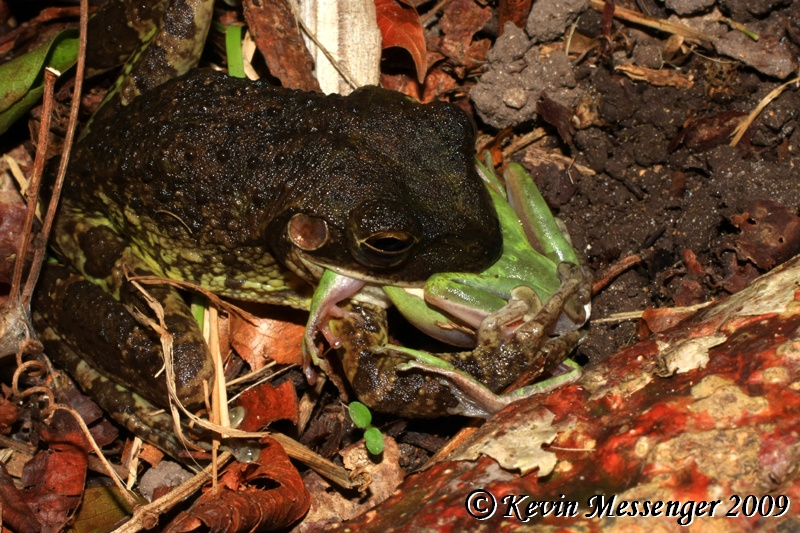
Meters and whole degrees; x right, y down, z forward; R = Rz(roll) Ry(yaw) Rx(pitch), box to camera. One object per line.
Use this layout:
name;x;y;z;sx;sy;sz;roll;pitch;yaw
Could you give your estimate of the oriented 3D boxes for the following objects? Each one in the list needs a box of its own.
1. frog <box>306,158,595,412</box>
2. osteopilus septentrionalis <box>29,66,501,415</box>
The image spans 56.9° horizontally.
frog;0.236;0.302;4.281;1.432;0.556;1.609;31;70;20
osteopilus septentrionalis;-0.793;-0.221;4.440;2.799;0.923;2.652;11;33;9
